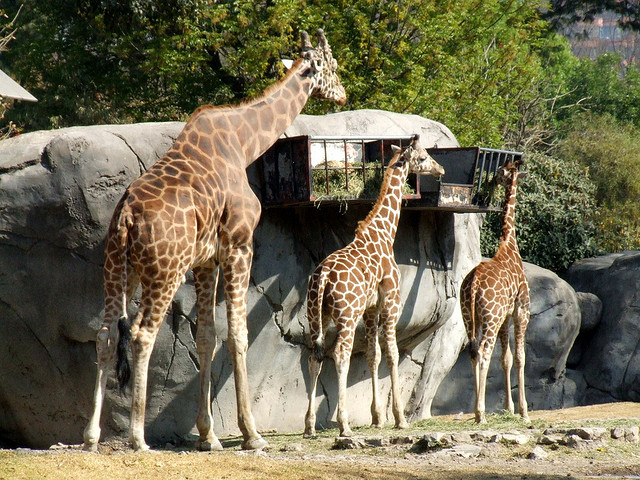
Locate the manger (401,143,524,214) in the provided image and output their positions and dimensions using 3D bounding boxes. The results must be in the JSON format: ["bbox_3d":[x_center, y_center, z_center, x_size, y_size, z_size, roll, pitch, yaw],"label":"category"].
[{"bbox_3d":[2.727,-1.183,25.125,1.389,1.930,1.653,-3,2,-33],"label":"manger"}]

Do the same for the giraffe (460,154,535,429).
[{"bbox_3d":[3.491,0.961,24.220,1.113,4.828,2.081,1,1,26],"label":"giraffe"}]

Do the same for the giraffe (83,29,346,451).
[{"bbox_3d":[-1.752,0.156,22.608,4.363,7.751,1.503,5,0,-39],"label":"giraffe"}]

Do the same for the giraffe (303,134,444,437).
[{"bbox_3d":[1.159,0.843,23.544,2.991,5.763,0.969,1,-3,-40],"label":"giraffe"}]
